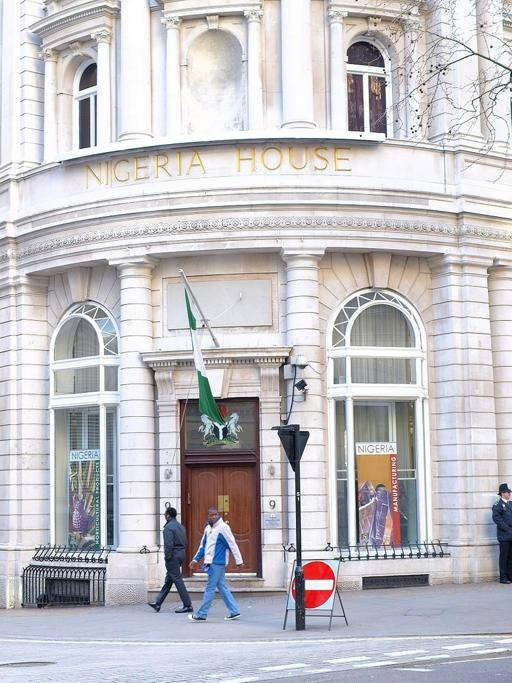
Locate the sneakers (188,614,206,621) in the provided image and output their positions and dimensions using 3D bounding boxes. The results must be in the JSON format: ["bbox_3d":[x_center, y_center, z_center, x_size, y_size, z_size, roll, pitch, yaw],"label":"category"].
[{"bbox_3d":[-0.984,4.585,26.802,0.271,0.126,0.106,3,-1,17],"label":"sneakers"}]

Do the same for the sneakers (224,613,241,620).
[{"bbox_3d":[-0.416,4.550,26.760,0.228,0.114,0.103,-3,2,24],"label":"sneakers"}]

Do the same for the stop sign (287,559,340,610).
[{"bbox_3d":[0.980,3.796,25.240,0.532,0.777,0.353,-2,-9,1],"label":"stop sign"}]

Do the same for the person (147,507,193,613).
[{"bbox_3d":[-1.515,3.887,28.780,0.704,1.937,1.544,-1,-10,-4],"label":"person"}]

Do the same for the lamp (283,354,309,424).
[{"bbox_3d":[0.726,0.951,31.503,0.315,1.286,0.860,4,-11,-33],"label":"lamp"}]

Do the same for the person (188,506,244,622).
[{"bbox_3d":[-0.706,3.717,27.042,0.853,1.898,1.176,-1,-9,-3],"label":"person"}]

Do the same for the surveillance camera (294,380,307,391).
[{"bbox_3d":[0.833,0.851,31.252,0.187,0.207,0.132,-23,15,-33],"label":"surveillance camera"}]

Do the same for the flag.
[{"bbox_3d":[-1.003,0.322,31.044,0.669,2.626,1.694,-1,-9,-3],"label":"flag"}]
